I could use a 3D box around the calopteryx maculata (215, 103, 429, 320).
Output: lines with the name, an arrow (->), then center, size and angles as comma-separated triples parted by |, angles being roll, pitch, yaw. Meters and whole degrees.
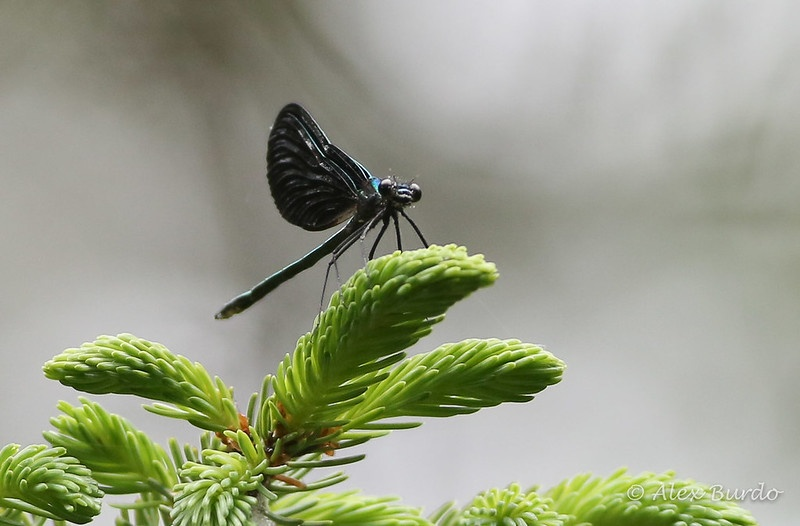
calopteryx maculata -> -0.231, -0.163, 2.162 | 0.535, 0.311, 0.321 | -18, -51, 1
